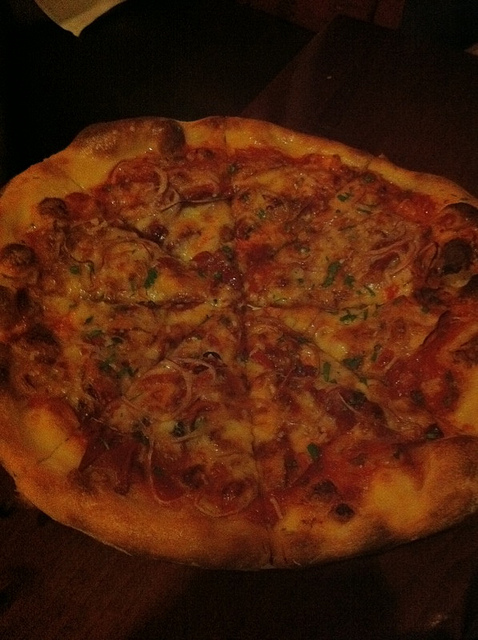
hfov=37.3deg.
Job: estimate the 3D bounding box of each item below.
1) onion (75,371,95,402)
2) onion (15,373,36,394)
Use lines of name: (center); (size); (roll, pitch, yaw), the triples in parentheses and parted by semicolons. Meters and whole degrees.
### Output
onion: (-0.709, 0.302, 3.233); (0.112, 0.105, 0.032); (-8, -4, -9)
onion: (-0.959, 0.290, 3.171); (0.041, 0.081, 0.083); (-31, 49, -25)
